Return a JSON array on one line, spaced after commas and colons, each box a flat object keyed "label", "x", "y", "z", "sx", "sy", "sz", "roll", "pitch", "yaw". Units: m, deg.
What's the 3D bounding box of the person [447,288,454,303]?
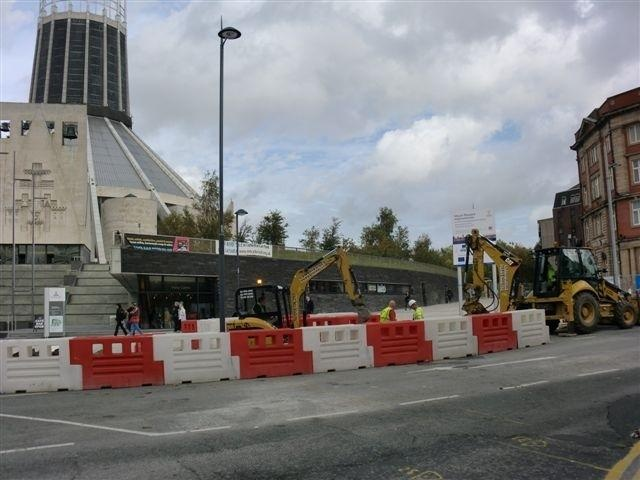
[{"label": "person", "x": 14.481, "y": 6.265, "z": 60.975, "sx": 0.565, "sy": 1.594, "sz": 2.323, "roll": -1, "pitch": -1, "yaw": 9}]

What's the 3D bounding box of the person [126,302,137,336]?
[{"label": "person", "x": -10.010, "y": 4.286, "z": 28.985, "sx": 0.563, "sy": 1.612, "sz": 2.131, "roll": 0, "pitch": -1, "yaw": -20}]

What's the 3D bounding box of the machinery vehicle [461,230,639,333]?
[{"label": "machinery vehicle", "x": 8.724, "y": 1.725, "z": 22.355, "sx": 9.190, "sy": 4.846, "sz": 3.512, "roll": -1, "pitch": -1, "yaw": -23}]

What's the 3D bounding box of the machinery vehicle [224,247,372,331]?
[{"label": "machinery vehicle", "x": -0.751, "y": 2.070, "z": 18.536, "sx": 4.703, "sy": 3.336, "sz": 2.053, "roll": -6, "pitch": -1, "yaw": 12}]
